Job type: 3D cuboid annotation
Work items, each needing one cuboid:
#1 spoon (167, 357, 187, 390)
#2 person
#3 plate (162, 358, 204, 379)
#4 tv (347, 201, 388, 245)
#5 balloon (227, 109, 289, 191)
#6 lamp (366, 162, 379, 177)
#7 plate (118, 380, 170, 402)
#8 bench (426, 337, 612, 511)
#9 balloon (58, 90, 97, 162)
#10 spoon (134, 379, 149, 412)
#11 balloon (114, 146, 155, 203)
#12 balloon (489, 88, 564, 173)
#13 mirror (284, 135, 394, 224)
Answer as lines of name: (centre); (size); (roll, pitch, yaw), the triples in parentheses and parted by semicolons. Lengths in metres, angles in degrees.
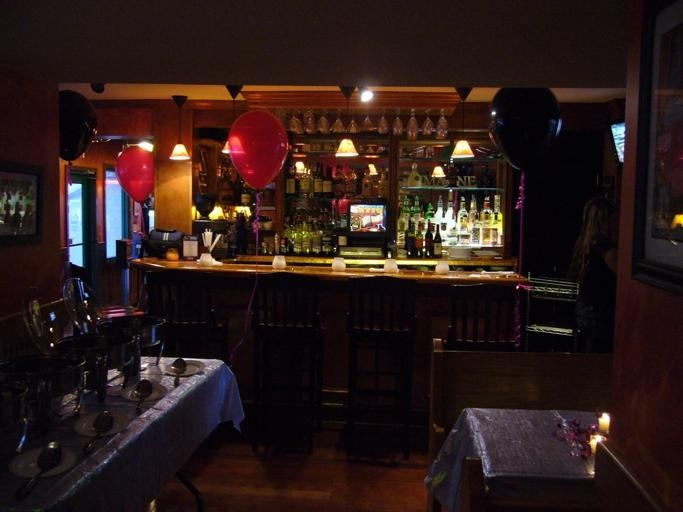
spoon: (-0.714, 0.510, 2.590); (0.037, 0.027, 0.163); (5, 23, -13)
person: (1.693, 0.146, 3.994); (0.249, 1.042, 0.363); (-9, 17, -44)
plate: (-0.711, 0.502, 2.660); (0.098, 0.012, 0.104); (8, 15, 15)
tv: (0.276, -0.405, 6.258); (0.435, 0.516, 0.272); (1, 32, 2)
balloon: (-0.517, -0.645, 3.695); (0.374, 0.530, 0.373); (7, 13, 36)
lamp: (0.335, -0.908, 6.342); (0.111, 0.130, 0.113); (13, 18, 42)
plate: (-0.790, 0.545, 2.383); (0.100, 0.015, 0.109); (7, 19, 4)
bench: (0.684, 0.662, 2.316); (0.833, 0.699, 0.343); (1, 2, 2)
balloon: (-1.402, -0.678, 3.168); (0.185, 0.375, 0.336); (-3, 14, -26)
spoon: (-0.778, 0.545, 2.319); (0.032, 0.022, 0.129); (3, 26, -11)
balloon: (-1.636, -0.657, 4.791); (0.344, 0.485, 0.362); (-3, -8, -33)
balloon: (0.970, -0.692, 3.134); (0.317, 0.469, 0.436); (3, 23, 23)
mirror: (-0.005, -0.708, 6.450); (1.134, 1.148, 0.400); (0, -16, -3)
